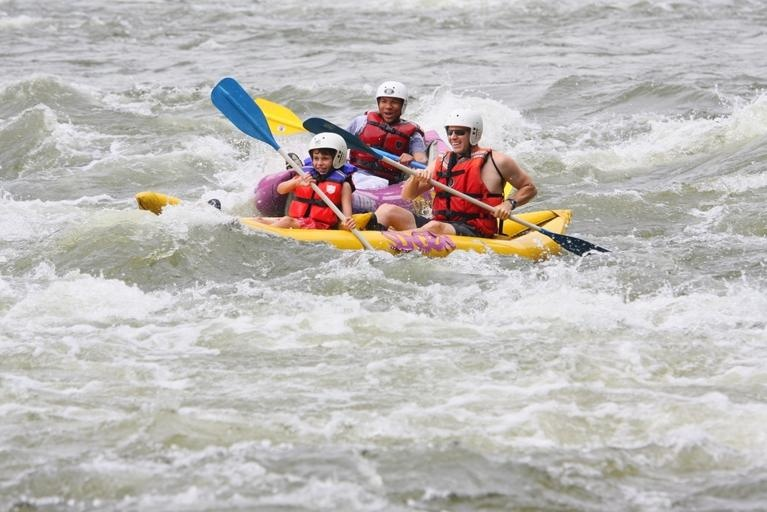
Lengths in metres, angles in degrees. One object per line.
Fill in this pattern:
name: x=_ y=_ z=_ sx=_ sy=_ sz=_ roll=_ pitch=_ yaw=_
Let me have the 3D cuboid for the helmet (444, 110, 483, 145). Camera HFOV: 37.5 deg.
helmet: x=0.958 y=-1.536 z=13.588 sx=0.532 sy=0.348 sz=0.522 roll=8 pitch=13 yaw=25

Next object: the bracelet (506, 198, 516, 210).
bracelet: x=1.511 y=-0.595 z=13.298 sx=0.115 sy=0.108 sz=0.128 roll=-20 pitch=46 yaw=-19

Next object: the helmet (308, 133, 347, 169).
helmet: x=-0.672 y=-1.247 z=13.478 sx=0.454 sy=0.437 sz=0.302 roll=-3 pitch=38 yaw=-2

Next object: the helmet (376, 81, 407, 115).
helmet: x=0.054 y=-2.106 z=14.749 sx=0.485 sy=0.257 sz=0.429 roll=3 pitch=16 yaw=6

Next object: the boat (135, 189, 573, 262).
boat: x=-0.523 y=-0.176 z=13.248 sx=6.371 sy=0.583 sz=1.404 roll=3 pitch=7 yaw=-6
